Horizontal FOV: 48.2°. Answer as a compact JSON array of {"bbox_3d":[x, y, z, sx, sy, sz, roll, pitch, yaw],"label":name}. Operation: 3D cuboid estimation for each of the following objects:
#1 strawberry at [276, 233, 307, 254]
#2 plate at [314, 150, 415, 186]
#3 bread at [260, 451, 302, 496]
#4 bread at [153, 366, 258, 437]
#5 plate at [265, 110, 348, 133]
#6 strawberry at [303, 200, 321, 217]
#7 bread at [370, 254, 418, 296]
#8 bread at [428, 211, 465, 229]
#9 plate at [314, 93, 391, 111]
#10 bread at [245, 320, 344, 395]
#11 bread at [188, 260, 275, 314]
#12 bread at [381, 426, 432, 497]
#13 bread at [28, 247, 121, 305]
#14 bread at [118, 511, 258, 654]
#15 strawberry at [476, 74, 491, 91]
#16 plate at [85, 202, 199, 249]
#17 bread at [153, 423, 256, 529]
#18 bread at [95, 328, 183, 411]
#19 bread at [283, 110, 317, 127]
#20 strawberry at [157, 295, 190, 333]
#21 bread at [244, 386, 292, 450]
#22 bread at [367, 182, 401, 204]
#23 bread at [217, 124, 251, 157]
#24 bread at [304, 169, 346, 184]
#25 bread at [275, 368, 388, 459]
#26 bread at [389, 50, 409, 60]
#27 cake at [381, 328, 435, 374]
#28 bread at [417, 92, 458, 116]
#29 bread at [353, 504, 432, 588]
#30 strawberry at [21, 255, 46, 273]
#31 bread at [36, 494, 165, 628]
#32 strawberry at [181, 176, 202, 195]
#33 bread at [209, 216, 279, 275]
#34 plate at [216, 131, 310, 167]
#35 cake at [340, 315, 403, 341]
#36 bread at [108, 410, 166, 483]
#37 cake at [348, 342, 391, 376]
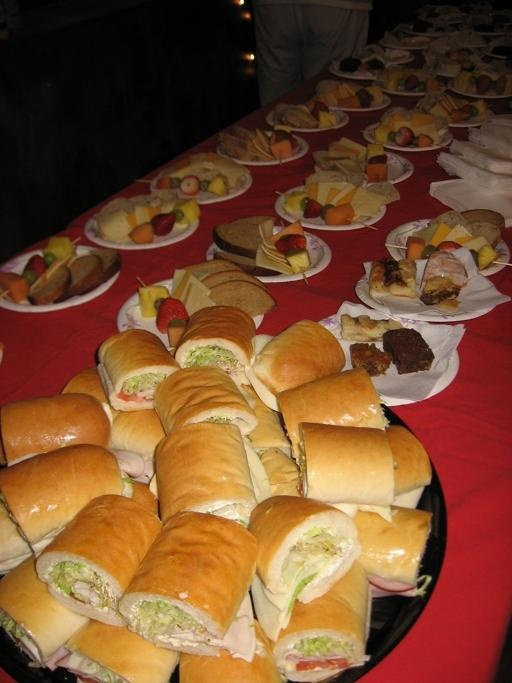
[{"bbox_3d":[0.123,-0.337,1.972,0.093,0.034,0.082,-5,50,17],"label":"strawberry"},{"bbox_3d":[0.511,-0.789,2.588,0.325,0.032,0.289,-8,36,-14],"label":"plate"},{"bbox_3d":[0.052,0.228,0.999,0.054,0.020,0.066,-6,38,-9],"label":"bread"},{"bbox_3d":[-0.091,0.094,1.002,0.153,0.070,0.135,-8,36,-9],"label":"bread"},{"bbox_3d":[0.341,-1.226,3.217,0.334,0.030,0.300,-12,37,-16],"label":"plate"},{"bbox_3d":[0.231,-0.529,2.274,0.077,0.053,0.042,17,41,-2],"label":"strawberry"},{"bbox_3d":[0.427,-0.197,1.787,0.152,0.041,0.137,11,44,9],"label":"bread"},{"bbox_3d":[0.698,-0.443,2.065,0.084,0.024,0.081,-20,38,-4],"label":"bread"},{"bbox_3d":[0.604,-1.448,3.489,0.269,0.031,0.220,-17,37,-20],"label":"plate"},{"bbox_3d":[0.090,0.028,1.182,0.187,0.052,0.124,-26,43,-23],"label":"bread"},{"bbox_3d":[-0.086,-0.176,1.702,0.231,0.060,0.180,35,37,21],"label":"bread"},{"bbox_3d":[0.252,0.206,1.016,0.119,0.032,0.104,-7,48,-16],"label":"bread"},{"bbox_3d":[-0.592,-0.211,1.902,0.297,0.066,0.162,-23,42,-25],"label":"bread"},{"bbox_3d":[-0.089,0.327,0.802,0.164,0.100,0.162,16,31,16],"label":"bread"},{"bbox_3d":[1.434,-1.613,3.593,0.085,0.099,0.031,-1,-7,8],"label":"strawberry"},{"bbox_3d":[-0.403,-0.427,2.248,0.309,0.306,0.054,-2,74,33],"label":"plate"},{"bbox_3d":[-0.082,0.209,0.903,0.189,0.090,0.174,10,47,6],"label":"bread"},{"bbox_3d":[-0.249,0.080,1.201,0.174,0.101,0.160,-22,52,-24],"label":"bread"},{"bbox_3d":[0.238,-1.242,3.181,0.151,0.045,0.134,3,39,1],"label":"bread"},{"bbox_3d":[-0.242,-0.084,1.599,0.083,0.063,0.098,-25,71,15],"label":"strawberry"},{"bbox_3d":[0.023,0.148,1.094,0.092,0.031,0.099,13,39,-40],"label":"bread"},{"bbox_3d":[0.540,-0.625,2.398,0.130,0.032,0.122,-31,50,-26],"label":"bread"},{"bbox_3d":[-0.102,-1.014,2.927,0.181,0.090,0.217,8,31,7],"label":"bread"},{"bbox_3d":[0.293,-0.698,2.432,0.124,0.034,0.082,-2,39,-3],"label":"bread"},{"bbox_3d":[0.144,0.127,1.043,0.183,0.051,0.140,-16,52,0],"label":"bread"},{"bbox_3d":[1.139,-2.286,4.557,0.143,0.032,0.129,13,66,10],"label":"bread"},{"bbox_3d":[0.385,0.023,1.499,0.117,0.072,0.142,-10,40,-9],"label":"cake"},{"bbox_3d":[1.041,-1.359,3.263,0.225,0.073,0.198,-5,40,-3],"label":"bread"},{"bbox_3d":[0.214,0.325,0.940,0.148,0.037,0.135,-7,33,25],"label":"bread"},{"bbox_3d":[-0.755,-0.262,1.940,0.054,0.038,0.086,11,28,1],"label":"strawberry"},{"bbox_3d":[-0.228,0.306,0.866,0.161,0.083,0.186,10,20,3],"label":"bread"},{"bbox_3d":[-0.288,-0.685,2.513,0.090,0.078,0.054,5,5,21],"label":"strawberry"},{"bbox_3d":[-0.067,-0.335,2.009,0.263,0.064,0.251,15,34,18],"label":"bread"},{"bbox_3d":[0.014,-0.967,2.850,0.328,0.083,0.303,11,34,15],"label":"plate"},{"bbox_3d":[0.324,-0.039,1.598,0.138,0.037,0.075,2,38,6],"label":"cake"},{"bbox_3d":[-0.230,0.166,1.114,0.112,0.043,0.141,20,26,-22],"label":"bread"},{"bbox_3d":[0.292,0.040,1.500,0.110,0.034,0.100,5,33,7],"label":"cake"}]
